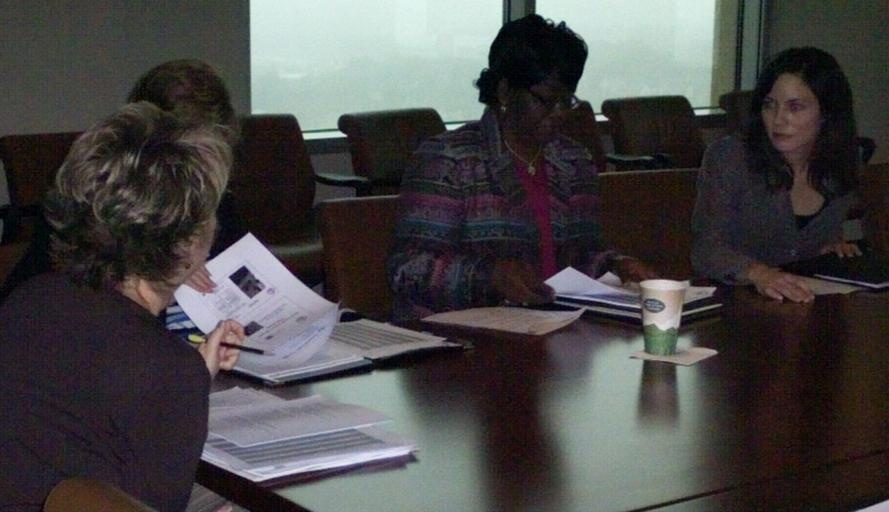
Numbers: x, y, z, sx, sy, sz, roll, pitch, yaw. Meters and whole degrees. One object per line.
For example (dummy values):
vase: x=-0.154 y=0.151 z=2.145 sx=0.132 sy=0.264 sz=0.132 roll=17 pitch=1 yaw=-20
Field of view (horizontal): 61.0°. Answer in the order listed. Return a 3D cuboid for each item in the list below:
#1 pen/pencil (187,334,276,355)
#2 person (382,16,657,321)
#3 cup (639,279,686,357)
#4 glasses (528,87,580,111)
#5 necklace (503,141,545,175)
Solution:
pen/pencil: x=-0.482 y=0.200 z=1.702 sx=0.221 sy=0.026 sz=0.029 roll=11 pitch=-17 yaw=14
person: x=0.267 y=-0.160 z=2.622 sx=0.817 sy=1.188 sz=0.726 roll=-2 pitch=8 yaw=-12
cup: x=0.540 y=0.159 z=1.880 sx=0.118 sy=0.166 sz=0.119 roll=2 pitch=1 yaw=0
glasses: x=0.349 y=-0.489 z=2.443 sx=0.109 sy=0.040 sz=0.080 roll=13 pitch=-9 yaw=-9
necklace: x=0.263 y=-0.334 z=2.602 sx=0.113 sy=0.057 sz=0.115 roll=41 pitch=32 yaw=24
